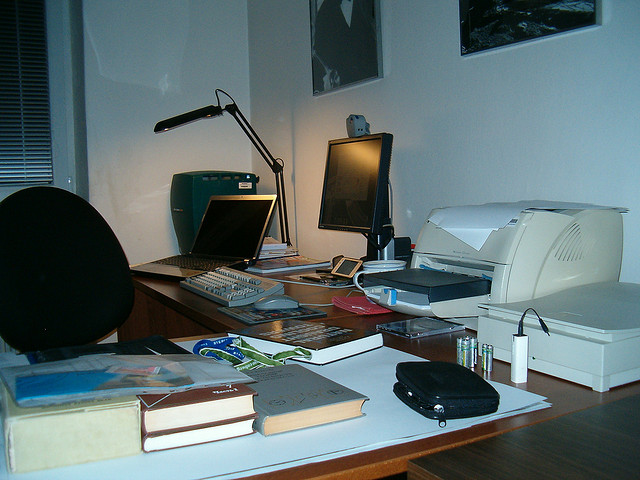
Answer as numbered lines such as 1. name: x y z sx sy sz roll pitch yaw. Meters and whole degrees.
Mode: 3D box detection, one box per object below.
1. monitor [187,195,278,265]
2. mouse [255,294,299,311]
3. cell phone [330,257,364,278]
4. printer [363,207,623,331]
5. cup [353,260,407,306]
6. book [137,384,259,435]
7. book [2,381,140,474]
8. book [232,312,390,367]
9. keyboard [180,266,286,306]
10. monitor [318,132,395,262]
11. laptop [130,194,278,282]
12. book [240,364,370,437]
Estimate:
1. monitor: -0.383 -0.049 2.008 0.476 0.254 0.177 3 12 45
2. mouse: -0.117 0.171 1.321 0.082 0.039 0.098 5 11 38
3. cell phone: 0.097 0.095 1.770 0.022 0.073 0.087 46 -22 -28
4. printer: 0.453 0.039 1.227 0.519 0.252 0.338 -2 6 -25
5. cup: 0.176 0.126 1.340 0.168 0.101 0.102 6 10 22
6. book: -0.187 0.263 0.772 0.174 0.033 0.159 -5 -7 -17
7. book: -0.355 0.242 0.688 0.136 0.039 0.125 -2 7 -26
8. book: -0.026 0.215 1.100 0.312 0.047 0.305 -10 12 -42
9. keyboard: -0.288 0.140 1.543 0.177 0.052 0.412 -8 11 -35
10. monitor: 0.195 -0.151 1.819 0.252 0.461 0.445 -5 10 -24
11. laptop: -0.479 -0.020 1.935 0.531 0.256 0.495 1 11 33
12. book: -0.031 0.246 0.820 0.182 0.064 0.186 -4 9 -12
